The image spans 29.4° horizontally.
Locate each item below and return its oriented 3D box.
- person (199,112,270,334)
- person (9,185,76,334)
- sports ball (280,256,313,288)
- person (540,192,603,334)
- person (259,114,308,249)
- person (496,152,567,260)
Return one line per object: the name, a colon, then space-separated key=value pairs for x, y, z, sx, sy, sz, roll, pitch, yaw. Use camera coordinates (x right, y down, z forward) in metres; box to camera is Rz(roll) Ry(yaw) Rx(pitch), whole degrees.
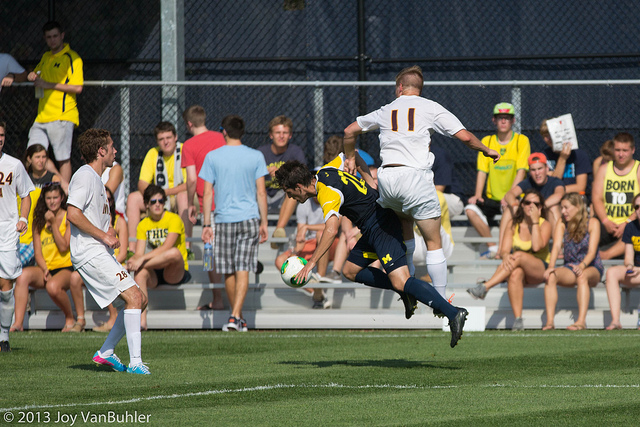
person: x=-1.253 y=0.140 z=17.630 sx=0.955 sy=3.022 sz=0.600 roll=-1 pitch=8 yaw=-3
person: x=-4.016 y=0.645 z=17.699 sx=0.838 sy=2.071 sz=0.561 roll=-3 pitch=9 yaw=-13
sports ball: x=-0.310 y=0.731 z=15.108 sx=0.354 sy=0.371 sz=0.201 roll=25 pitch=-15 yaw=17
person: x=3.570 y=0.688 z=17.375 sx=0.704 sy=1.876 sz=0.926 roll=4 pitch=9 yaw=28
person: x=-0.671 y=-0.514 z=18.501 sx=1.053 sy=1.539 sz=2.279 roll=2 pitch=20 yaw=-1
person: x=3.159 y=-0.127 z=18.279 sx=1.160 sy=1.535 sz=1.090 roll=-2 pitch=2 yaw=-15
